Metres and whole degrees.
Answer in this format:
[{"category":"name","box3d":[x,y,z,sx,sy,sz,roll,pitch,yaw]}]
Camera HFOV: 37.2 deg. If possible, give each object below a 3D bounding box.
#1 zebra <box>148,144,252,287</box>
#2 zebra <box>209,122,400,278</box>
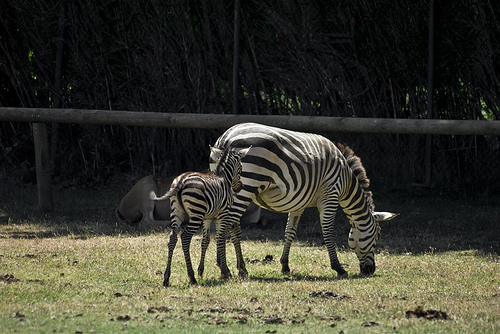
[{"category":"zebra","box3d":[-0.682,0.610,9.689,0.579,1.724,2.380,2,-1,26]},{"category":"zebra","box3d":[0.751,0.520,10.571,2.694,2.123,0.849,5,-3,-17]}]
